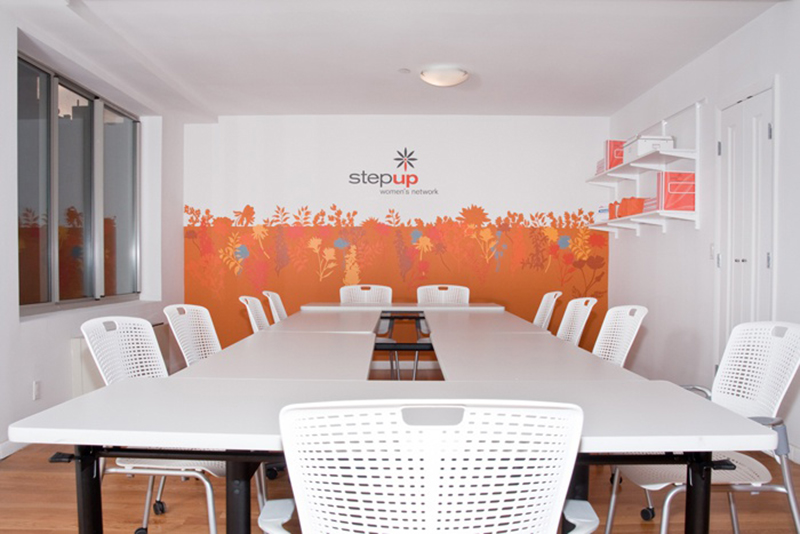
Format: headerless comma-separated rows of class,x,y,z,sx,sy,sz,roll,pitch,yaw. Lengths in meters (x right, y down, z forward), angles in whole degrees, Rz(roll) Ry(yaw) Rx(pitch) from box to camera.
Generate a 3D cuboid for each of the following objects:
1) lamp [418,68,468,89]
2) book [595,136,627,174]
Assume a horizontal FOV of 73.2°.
lamp,0.414,-1.780,5.042,0.432,0.118,0.251,1,2,4
book,2.104,-1.087,5.440,0.259,0.153,0.463,0,2,0
